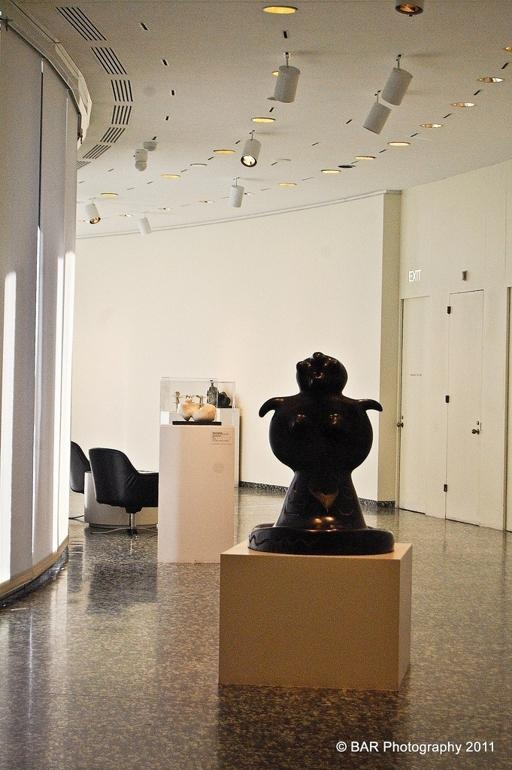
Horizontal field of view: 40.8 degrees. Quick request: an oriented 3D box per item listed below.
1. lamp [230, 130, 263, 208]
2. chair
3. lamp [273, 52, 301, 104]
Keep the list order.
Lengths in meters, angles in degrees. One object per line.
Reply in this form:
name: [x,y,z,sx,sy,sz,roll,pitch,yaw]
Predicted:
lamp: [-0.124,-2.529,7.982,0.140,0.665,0.138,18,-31,1]
chair: [-1.383,1.055,7.219,0.883,0.903,1.085,-1,-4,26]
lamp: [0.235,-2.261,5.076,0.155,0.316,0.155,14,29,22]
